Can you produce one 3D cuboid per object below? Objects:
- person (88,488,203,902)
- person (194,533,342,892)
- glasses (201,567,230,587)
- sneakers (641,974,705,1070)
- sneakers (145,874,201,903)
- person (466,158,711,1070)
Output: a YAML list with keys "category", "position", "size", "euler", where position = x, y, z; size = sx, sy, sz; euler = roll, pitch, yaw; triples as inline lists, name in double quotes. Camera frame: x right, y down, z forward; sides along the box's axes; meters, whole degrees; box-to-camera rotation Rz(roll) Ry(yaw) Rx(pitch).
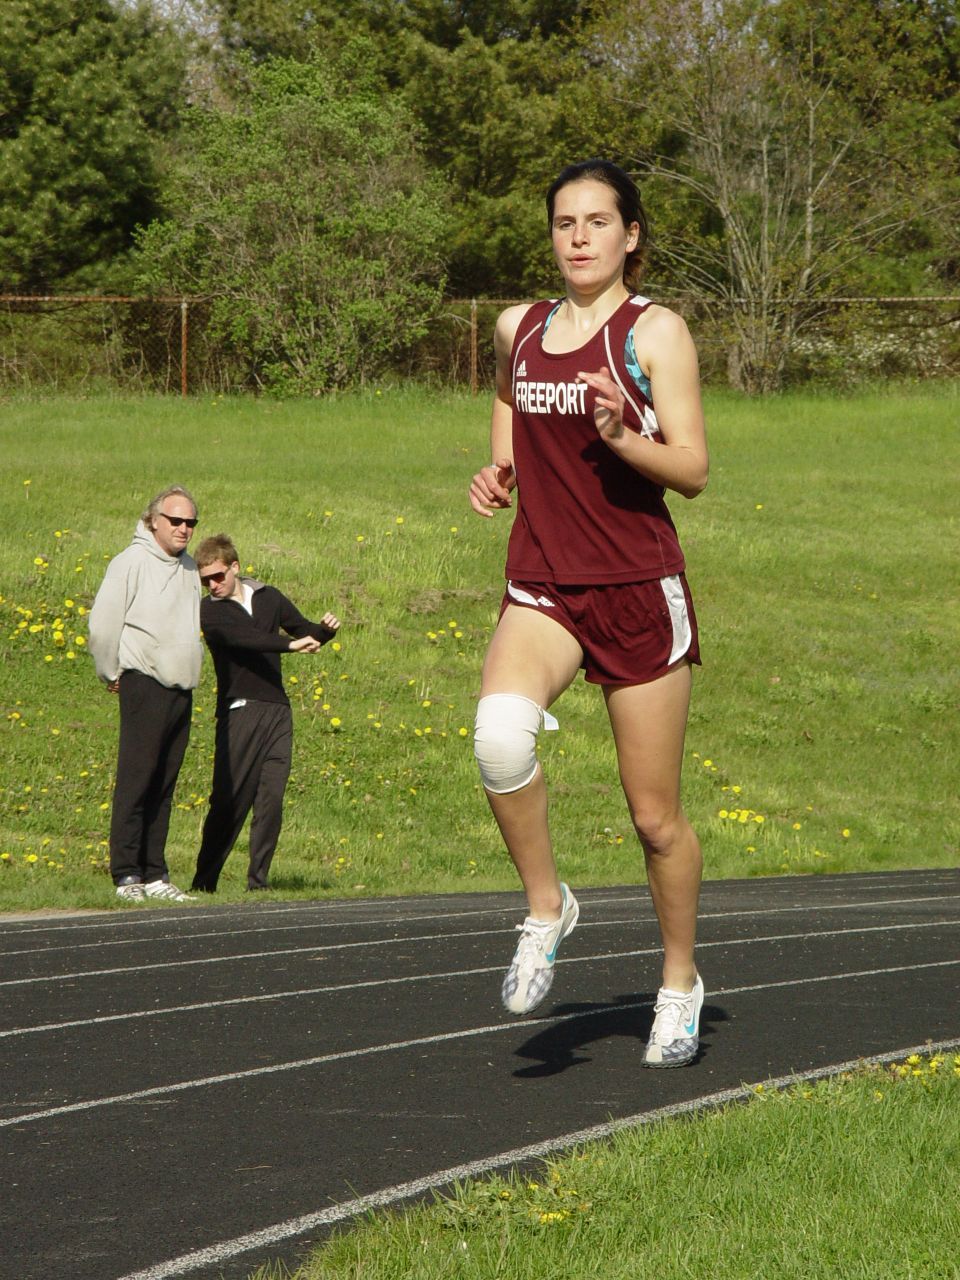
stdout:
- category: "person"
  position: [-1.697, 0.243, 8.353]
  size: [0.531, 2.072, 0.457]
  euler: [2, -3, -12]
- category: "person"
  position: [-1.164, 0.377, 8.706]
  size: [0.684, 1.921, 0.554]
  euler: [2, -3, -8]
- category: "glasses"
  position: [-1.391, -0.341, 8.801]
  size: [0.104, 0.097, 0.036]
  euler: [-4, 35, 27]
- category: "sneakers"
  position: [0.477, 0.943, 4.110]
  size: [0.100, 0.105, 0.278]
  euler: [3, 34, 18]
- category: "sneakers"
  position: [-1.548, 1.245, 8.165]
  size: [0.314, 0.116, 0.103]
  euler: [-2, 0, 27]
- category: "person"
  position: [0.228, -0.073, 3.842]
  size: [0.573, 2.257, 0.759]
  euler: [1, -3, 7]
